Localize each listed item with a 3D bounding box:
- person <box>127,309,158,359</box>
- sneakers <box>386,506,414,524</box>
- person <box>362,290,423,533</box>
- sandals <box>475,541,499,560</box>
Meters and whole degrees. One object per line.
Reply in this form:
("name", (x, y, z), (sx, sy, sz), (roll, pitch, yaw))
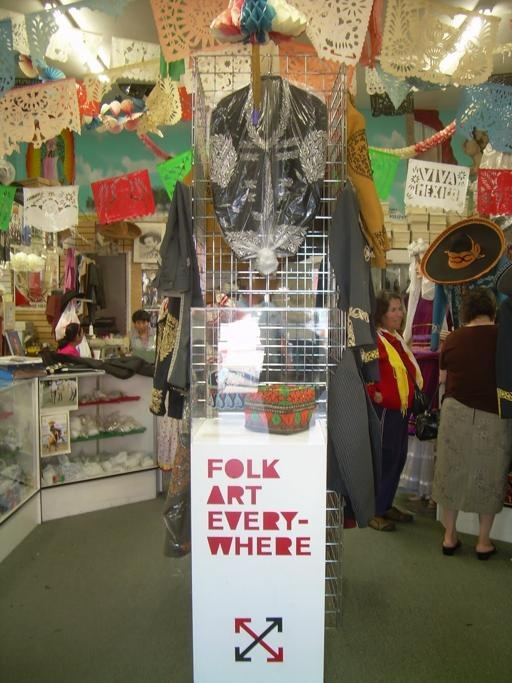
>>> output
("person", (-1.124, 0.063, 5.184), (0.297, 0.789, 0.212), (-3, 18, -16))
("sneakers", (0.934, 1.150, 3.453), (0.210, 0.105, 0.083), (-2, -2, 24))
("person", (0.804, 0.388, 3.126), (0.226, 1.404, 0.573), (1, 0, 36))
("sandals", (1.259, 1.155, 2.864), (0.051, 0.063, 0.139), (-3, 11, 35))
